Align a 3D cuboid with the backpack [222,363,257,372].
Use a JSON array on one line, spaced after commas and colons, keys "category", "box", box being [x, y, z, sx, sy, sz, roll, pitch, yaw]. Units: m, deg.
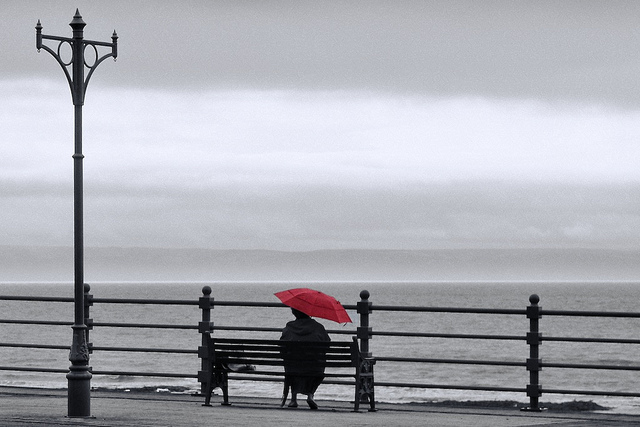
[{"category": "backpack", "box": [-4.454, 9.224, 114.746, 1.246, 0.403, 0.780, -5, 5, -41]}]
